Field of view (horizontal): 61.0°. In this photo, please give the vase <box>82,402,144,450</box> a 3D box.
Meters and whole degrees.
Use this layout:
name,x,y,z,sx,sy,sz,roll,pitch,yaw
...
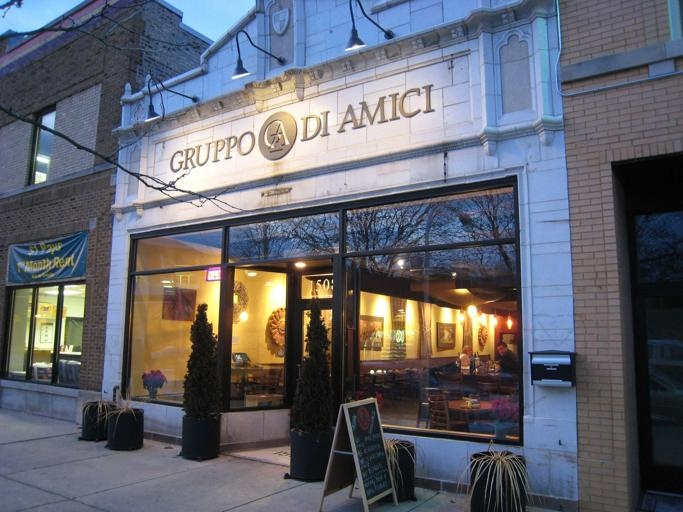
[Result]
name,x,y,z,sx,sy,sz,roll,pitch,yaw
vase,-4.499,3.293,11.388,1.439,0.788,0.577,-2,-4,41

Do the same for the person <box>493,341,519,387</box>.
name,x,y,z,sx,sy,sz,roll,pitch,yaw
person,2.579,1.680,8.957,0.387,0.734,0.403,-6,11,30

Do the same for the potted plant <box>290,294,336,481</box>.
name,x,y,z,sx,sy,sz,roll,pitch,yaw
potted plant,-0.508,2.166,9.462,0.735,2.847,0.455,0,-2,-1

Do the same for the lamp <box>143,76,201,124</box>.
name,x,y,z,sx,sy,sz,roll,pitch,yaw
lamp,-3.812,-3.517,12.783,1.531,0.844,0.411,4,23,32

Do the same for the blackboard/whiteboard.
name,x,y,z,sx,sy,sz,roll,pitch,yaw
blackboard/whiteboard,0.401,2.812,8.225,0.494,1.436,0.843,-2,-3,38

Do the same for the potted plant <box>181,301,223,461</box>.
name,x,y,z,sx,sy,sz,roll,pitch,yaw
potted plant,-2.571,2.273,10.594,0.720,2.764,0.400,1,-2,-15

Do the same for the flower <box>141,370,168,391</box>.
name,x,y,z,sx,sy,sz,roll,pitch,yaw
flower,-4.023,2.655,12.380,0.495,0.407,0.244,-12,-15,30

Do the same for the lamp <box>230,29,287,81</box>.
name,x,y,z,sx,sy,sz,roll,pitch,yaw
lamp,-1.678,-3.980,11.431,1.253,0.789,0.392,-19,34,-40

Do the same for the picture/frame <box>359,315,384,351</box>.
name,x,y,z,sx,sy,sz,roll,pitch,yaw
picture/frame,0.524,1.344,10.000,0.042,0.601,0.570,4,-7,-41
